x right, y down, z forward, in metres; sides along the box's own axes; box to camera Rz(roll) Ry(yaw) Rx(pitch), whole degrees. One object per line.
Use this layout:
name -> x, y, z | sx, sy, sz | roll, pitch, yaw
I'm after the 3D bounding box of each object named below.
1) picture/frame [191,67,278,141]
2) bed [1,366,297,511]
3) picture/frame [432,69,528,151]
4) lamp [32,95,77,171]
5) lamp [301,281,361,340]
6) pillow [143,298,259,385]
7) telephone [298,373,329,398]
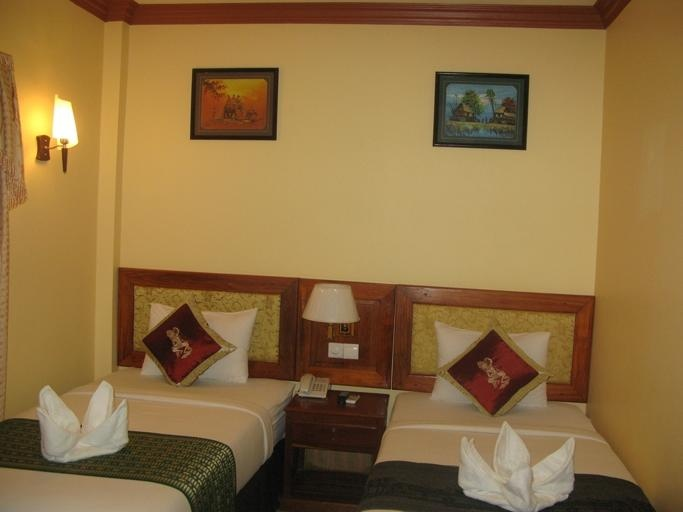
picture/frame -> -0.876, -1.308, 4.599 | 0.578, 0.514, 0.045 | 1, 6, 7
bed -> -1.181, 1.224, 3.553 | 1.411, 0.466, 1.765 | 5, 7, 4
picture/frame -> 1.147, -1.197, 4.386 | 0.601, 0.546, 0.051 | 2, 5, 5
lamp -> -2.161, -0.954, 4.256 | 0.218, 0.593, 0.407 | 5, 7, 8
lamp -> -0.082, 0.425, 4.215 | 0.347, 0.343, 0.331 | -2, 8, -16
pillow -> -0.903, 0.679, 4.145 | 0.736, 0.649, 0.218 | 6, -8, -1
telephone -> -0.216, 1.019, 4.225 | 0.165, 0.078, 0.192 | 3, 33, 7
